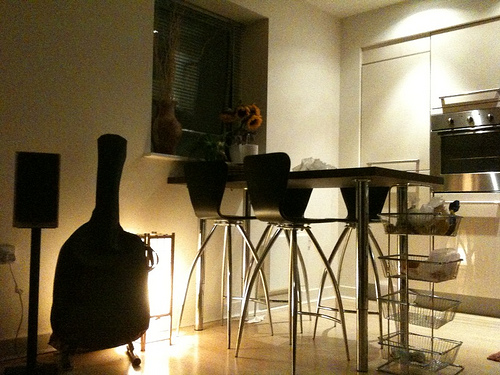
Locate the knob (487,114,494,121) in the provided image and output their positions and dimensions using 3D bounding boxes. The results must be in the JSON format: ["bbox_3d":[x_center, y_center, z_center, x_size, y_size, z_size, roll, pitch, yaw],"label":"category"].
[{"bbox_3d":[2.279,-0.676,4.396,0.046,0.092,0.060,-5,7,-43],"label":"knob"}]

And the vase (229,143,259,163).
[{"bbox_3d":[-0.055,-0.276,4.130,0.213,0.144,0.201,0,-1,-38],"label":"vase"}]

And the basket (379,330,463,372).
[{"bbox_3d":[1.144,1.134,3.195,0.420,0.139,0.310,-5,-6,40],"label":"basket"}]

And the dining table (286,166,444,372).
[{"bbox_3d":[0.937,0.501,3.849,1.220,1.999,1.242,1,2,42],"label":"dining table"}]

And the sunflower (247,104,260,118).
[{"bbox_3d":[0.029,-0.712,4.245,0.112,0.061,0.112,-4,-4,-33],"label":"sunflower"}]

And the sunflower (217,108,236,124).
[{"bbox_3d":[-0.224,-0.651,4.281,0.129,0.145,0.047,1,-16,4],"label":"sunflower"}]

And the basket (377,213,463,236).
[{"bbox_3d":[1.124,0.238,3.083,0.495,0.144,0.105,0,2,23],"label":"basket"}]

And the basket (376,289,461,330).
[{"bbox_3d":[1.124,0.751,3.187,0.325,0.164,0.465,3,-6,-43],"label":"basket"}]

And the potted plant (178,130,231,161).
[{"bbox_3d":[-0.415,-0.389,4.382,0.320,0.227,0.323,-3,4,-36],"label":"potted plant"}]

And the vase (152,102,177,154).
[{"bbox_3d":[-0.738,-0.520,3.993,0.207,0.453,0.087,-1,2,-14],"label":"vase"}]

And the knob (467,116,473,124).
[{"bbox_3d":[2.129,-0.669,4.488,0.039,0.056,0.053,-11,-10,28],"label":"knob"}]

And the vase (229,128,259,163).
[{"bbox_3d":[-0.015,-0.406,4.180,0.197,0.261,0.179,28,25,37],"label":"vase"}]

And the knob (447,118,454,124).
[{"bbox_3d":[1.998,-0.670,4.618,0.037,0.055,0.051,-5,-14,27],"label":"knob"}]
